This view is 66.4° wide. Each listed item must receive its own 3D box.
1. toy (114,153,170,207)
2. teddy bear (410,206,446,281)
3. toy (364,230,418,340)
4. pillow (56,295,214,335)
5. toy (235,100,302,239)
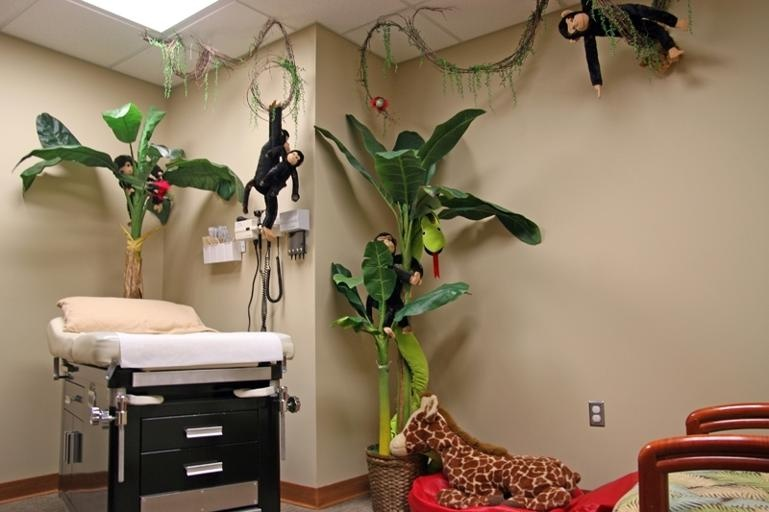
[{"bbox_3d":[-2.115,-0.697,5.093,0.363,0.507,0.204,0,12,29],"label":"toy"},{"bbox_3d":[0.397,-0.156,4.688,0.191,0.194,0.625,-9,-31,5],"label":"teddy bear"},{"bbox_3d":[0.073,0.205,4.638,0.434,0.839,0.527,0,-6,-8],"label":"toy"},{"bbox_3d":[-1.895,0.450,4.391,0.608,0.168,0.565,11,-8,-34],"label":"pillow"},{"bbox_3d":[-0.930,-0.681,4.791,0.537,1.314,0.374,29,32,26],"label":"toy"}]
